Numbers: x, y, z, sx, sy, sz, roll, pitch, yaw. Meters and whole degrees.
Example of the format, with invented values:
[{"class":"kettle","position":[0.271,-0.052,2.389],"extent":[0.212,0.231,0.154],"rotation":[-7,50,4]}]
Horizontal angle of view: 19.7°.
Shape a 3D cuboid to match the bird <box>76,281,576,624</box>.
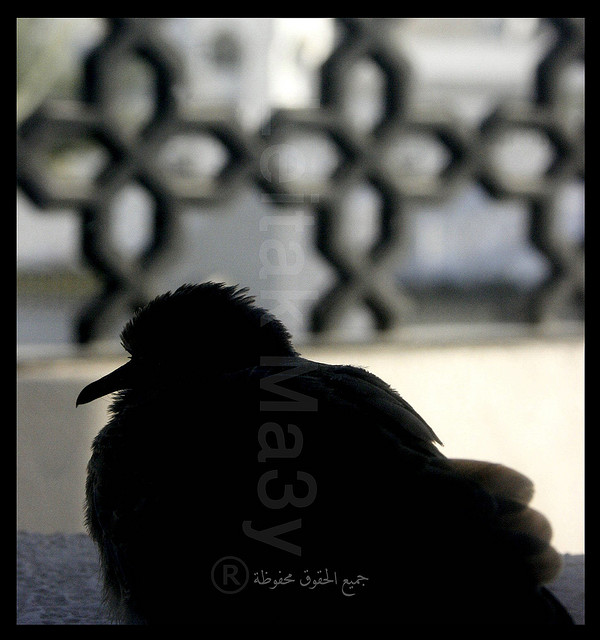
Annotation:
[{"class":"bird","position":[0.036,0.334,4.318],"extent":[1.186,0.272,0.809],"rotation":[0,71,-1]}]
